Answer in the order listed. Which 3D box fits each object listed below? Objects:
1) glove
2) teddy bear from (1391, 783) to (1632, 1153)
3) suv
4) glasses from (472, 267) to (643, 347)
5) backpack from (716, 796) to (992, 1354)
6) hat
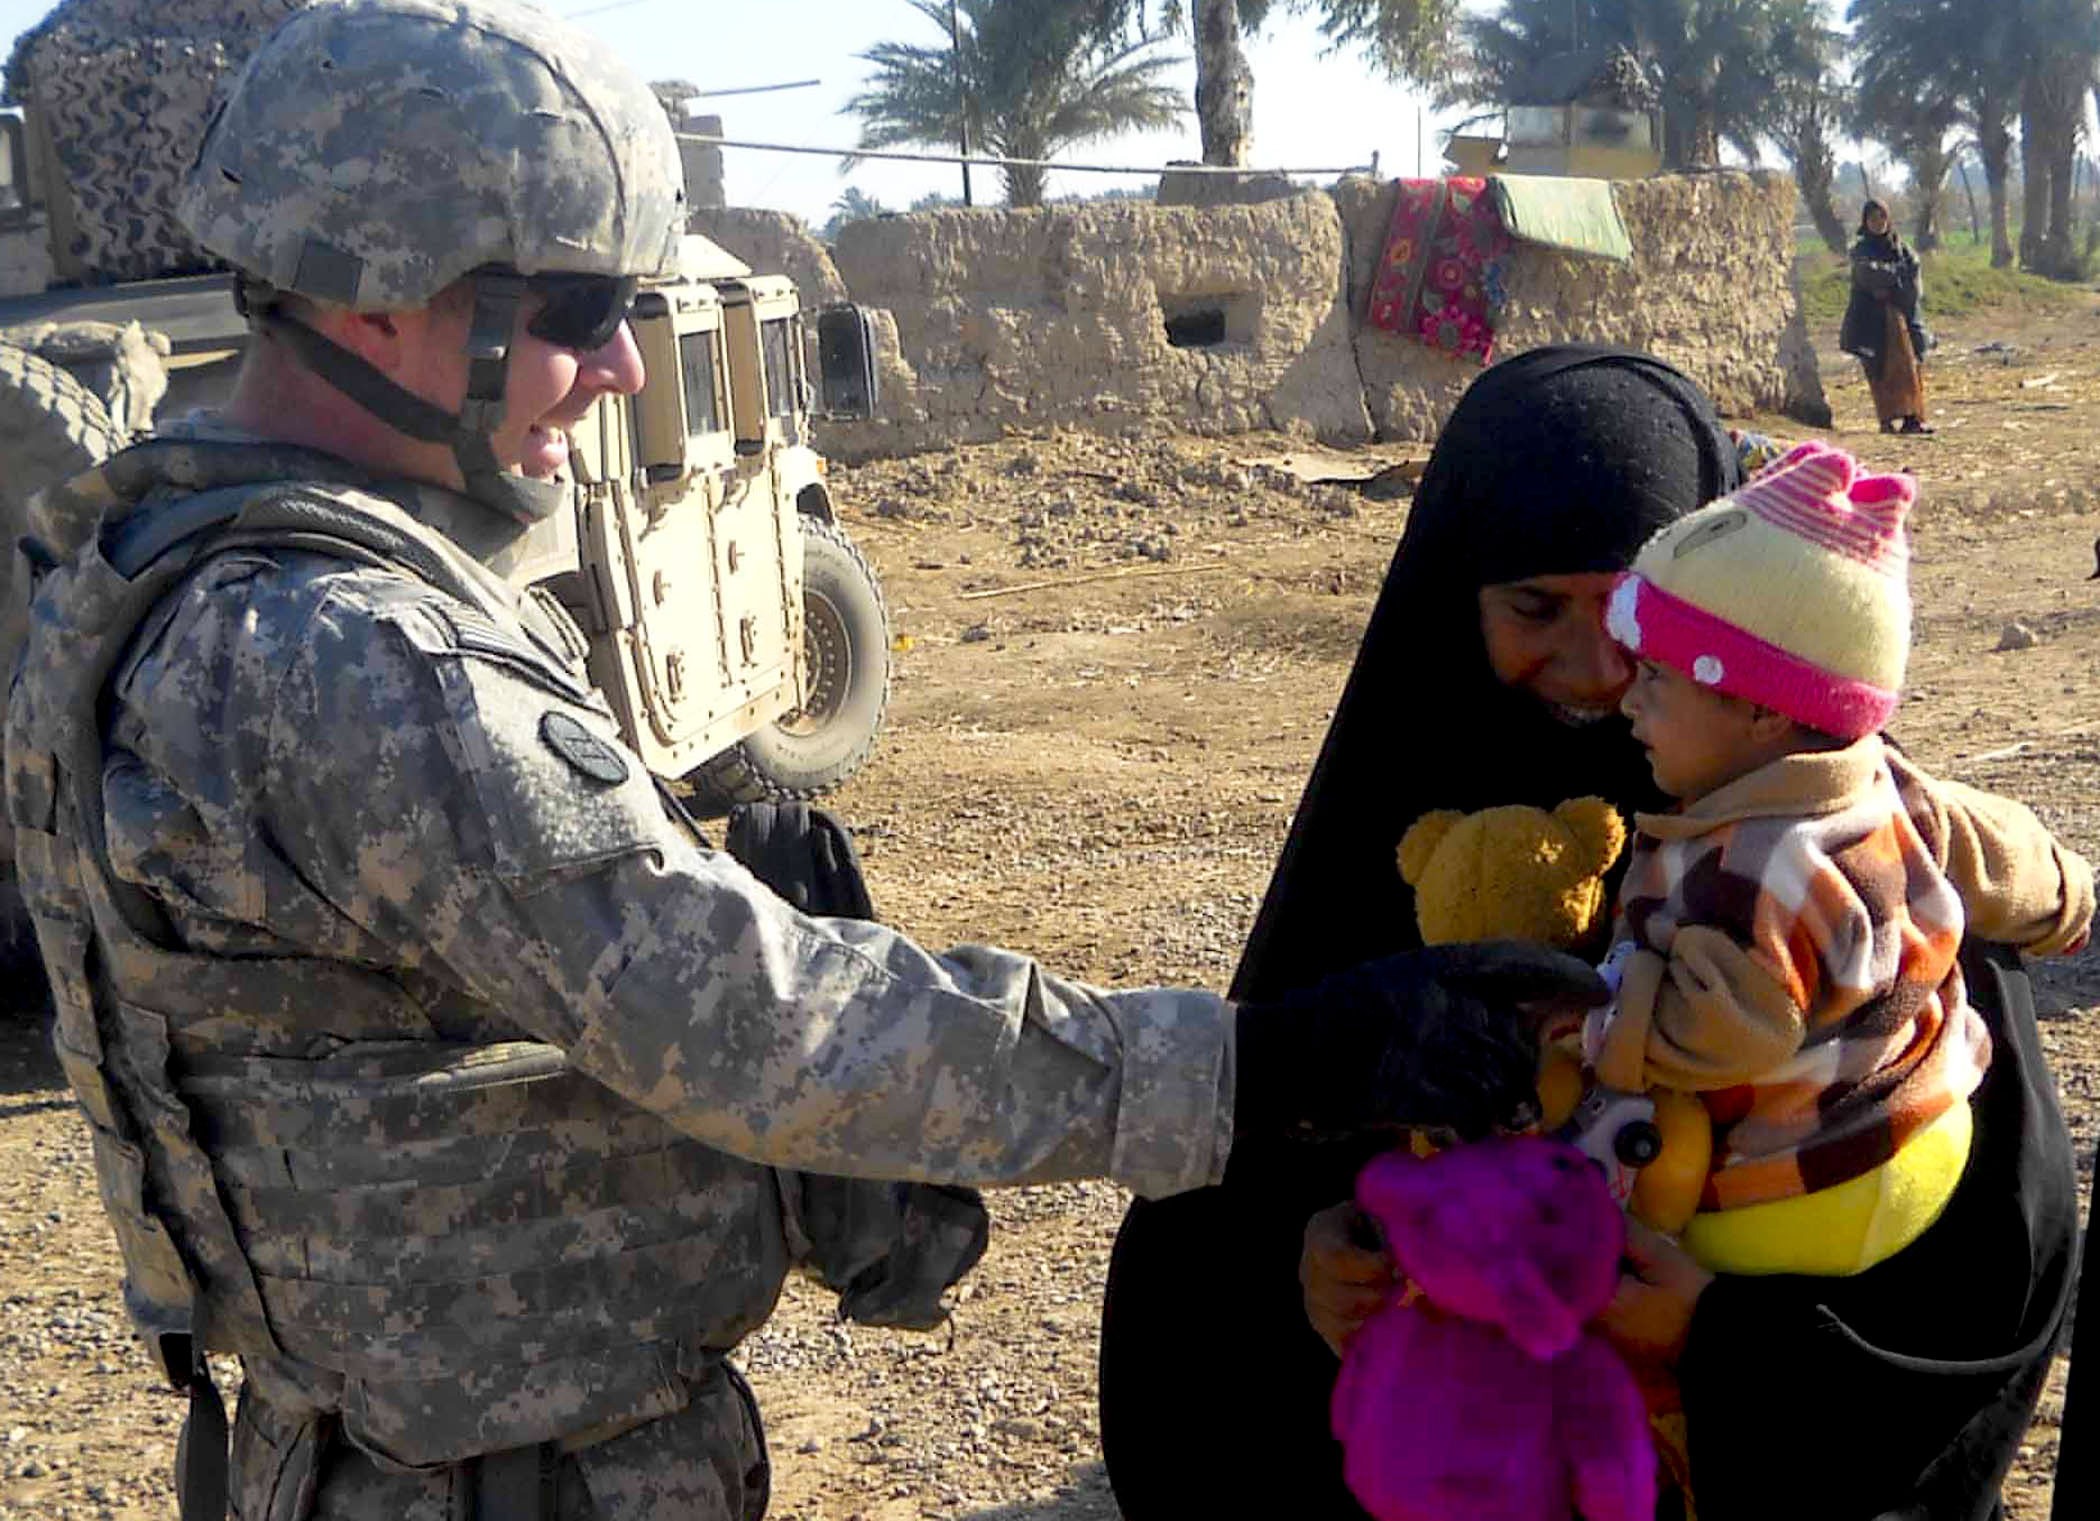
[{"bbox_3d":[0.389,0.297,3.038,0.351,0.144,0.210,5,50,9],"label":"glove"},{"bbox_3d":[0.536,0.255,3.183,0.313,0.390,0.246,-12,12,19],"label":"teddy bear"},{"bbox_3d":[-1.376,-1.030,7.745,1.665,1.711,2.804,13,21,34],"label":"suv"},{"bbox_3d":[-0.582,-0.526,3.261,0.114,0.049,0.101,2,15,20],"label":"glasses"},{"bbox_3d":[-0.210,0.384,3.514,0.236,0.612,0.407,-3,-7,-21],"label":"backpack"},{"bbox_3d":[0.859,-0.181,3.306,0.329,0.320,0.332,24,-4,38],"label":"hat"}]
